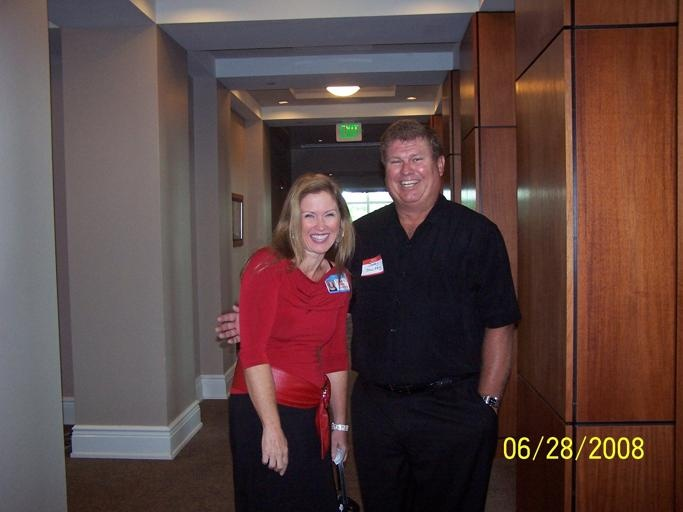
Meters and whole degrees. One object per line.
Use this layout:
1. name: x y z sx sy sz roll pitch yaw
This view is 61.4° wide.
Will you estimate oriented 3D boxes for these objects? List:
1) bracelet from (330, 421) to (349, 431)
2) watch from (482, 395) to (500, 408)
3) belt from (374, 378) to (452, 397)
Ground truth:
1. bracelet: -0.001 0.908 3.090 0.070 0.047 0.074 2 -7 6
2. watch: 0.788 0.763 3.013 0.080 0.063 0.076 21 -21 -13
3. belt: 0.391 0.686 3.046 0.401 0.093 0.045 2 7 8
